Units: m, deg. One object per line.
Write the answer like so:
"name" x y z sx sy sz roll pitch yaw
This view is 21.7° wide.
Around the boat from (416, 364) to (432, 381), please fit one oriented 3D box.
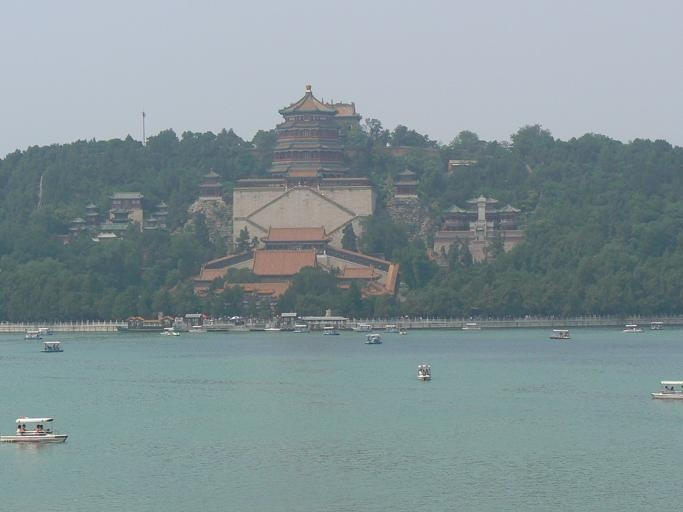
"boat" 5.362 7.542 116.333 1.000 1.108 2.816 -1 -2 3
